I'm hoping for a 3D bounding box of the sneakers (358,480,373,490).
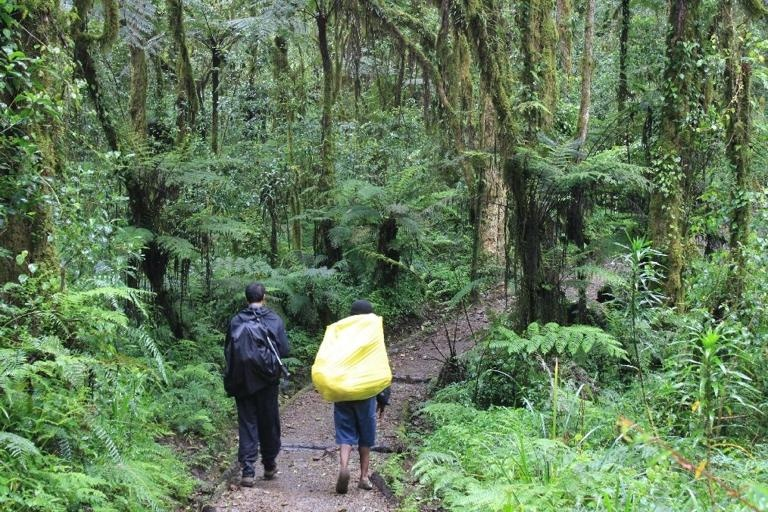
[{"bbox_3d":[-0.249,2.973,9.885,0.170,0.115,0.173,15,12,-40],"label":"sneakers"}]

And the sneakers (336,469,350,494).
[{"bbox_3d":[-0.529,2.889,9.723,0.113,0.390,0.171,4,7,-1],"label":"sneakers"}]

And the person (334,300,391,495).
[{"bbox_3d":[-0.313,1.822,9.993,0.623,2.458,0.787,1,1,24],"label":"person"}]

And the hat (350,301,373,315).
[{"bbox_3d":[-0.303,0.693,10.244,0.174,0.235,0.232,5,7,40],"label":"hat"}]

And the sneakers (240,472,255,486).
[{"bbox_3d":[-1.781,2.905,9.887,0.089,0.121,0.267,3,3,-1],"label":"sneakers"}]
